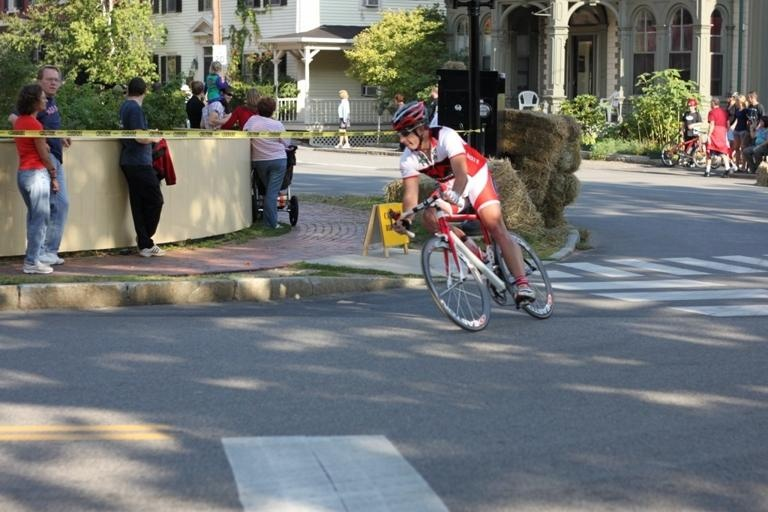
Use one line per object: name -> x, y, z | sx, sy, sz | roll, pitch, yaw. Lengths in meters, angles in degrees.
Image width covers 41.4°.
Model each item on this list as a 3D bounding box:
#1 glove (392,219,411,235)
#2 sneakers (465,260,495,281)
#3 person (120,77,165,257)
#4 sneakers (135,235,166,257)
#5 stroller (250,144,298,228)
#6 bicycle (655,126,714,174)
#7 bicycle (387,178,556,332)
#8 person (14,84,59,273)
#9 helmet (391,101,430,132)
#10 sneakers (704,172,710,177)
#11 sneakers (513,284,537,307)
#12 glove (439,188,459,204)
glove -> 0.153, -0.315, 10.691 | 0.171, 0.148, 0.211 | 29, 19, 38
sneakers -> 1.035, 0.166, 11.189 | 0.194, 0.273, 0.066 | -44, 4, -3
person -> -3.326, -1.212, 13.963 | 0.567, 2.425, 0.477 | -1, 12, -11
sneakers -> -3.206, -0.098, 14.041 | 0.401, 0.251, 0.181 | -3, 10, -16
stroller -> -1.894, -1.098, 17.504 | 0.860, 1.213, 1.127 | 0, 2, 5
bicycle -> 8.931, -3.155, 29.949 | 0.817, 1.129, 1.818 | -19, 22, -38
bicycle -> 1.109, 0.066, 11.470 | 0.959, 1.565, 2.503 | -24, -10, 35
person -> -4.276, -0.930, 12.574 | 0.467, 2.309, 0.701 | -3, 13, -18
helmet -> 0.258, -1.457, 10.870 | 0.353, 0.326, 0.272 | -26, 17, -11
sneakers -> 8.711, -2.201, 27.523 | 0.139, 0.142, 0.486 | 5, 13, 16
sneakers -> 1.540, 0.423, 11.088 | 0.121, 0.164, 0.313 | -2, -19, -2
glove -> 0.724, -0.626, 10.872 | 0.154, 0.161, 0.264 | -6, 15, -30
